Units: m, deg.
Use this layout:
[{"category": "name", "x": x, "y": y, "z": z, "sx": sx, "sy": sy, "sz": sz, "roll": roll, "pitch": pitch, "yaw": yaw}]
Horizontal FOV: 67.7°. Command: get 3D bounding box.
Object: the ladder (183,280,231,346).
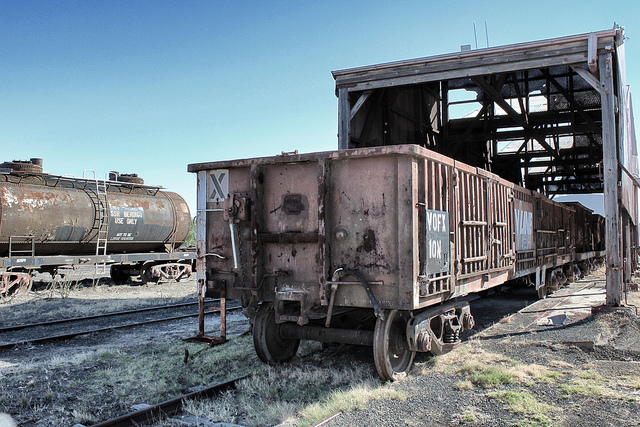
[{"category": "ladder", "x": -2.827, "y": 2.294, "z": 11.553, "sx": 0.631, "sy": 1.711, "sz": 1.639, "roll": 3, "pitch": -7, "yaw": -42}]
